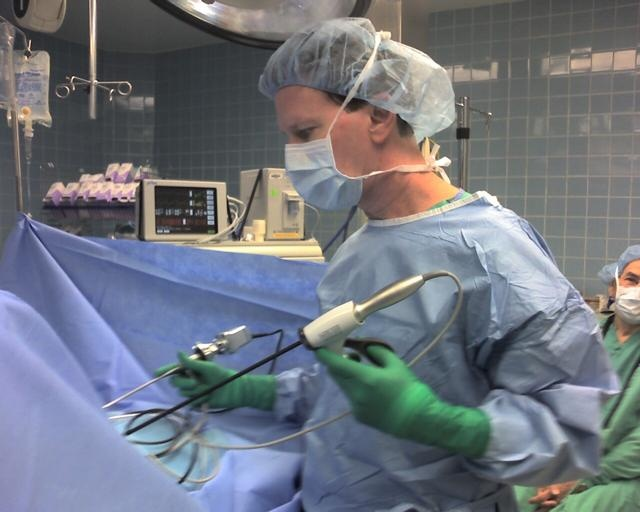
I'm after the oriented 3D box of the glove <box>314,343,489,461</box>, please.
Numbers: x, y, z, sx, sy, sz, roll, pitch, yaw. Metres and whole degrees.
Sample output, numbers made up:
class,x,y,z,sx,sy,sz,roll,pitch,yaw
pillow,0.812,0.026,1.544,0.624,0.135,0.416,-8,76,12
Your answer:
class,x,y,z,sx,sy,sz,roll,pitch,yaw
glove,0.167,0.292,1.324,0.334,0.215,0.082,1,5,12

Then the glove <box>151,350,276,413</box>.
class,x,y,z,sx,sy,sz,roll,pitch,yaw
glove,-0.224,0.336,1.664,0.358,0.119,0.179,10,39,-16

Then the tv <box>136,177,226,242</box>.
class,x,y,z,sx,sy,sz,roll,pitch,yaw
tv,-0.569,-0.152,2.825,0.428,0.321,0.230,0,-1,-37
